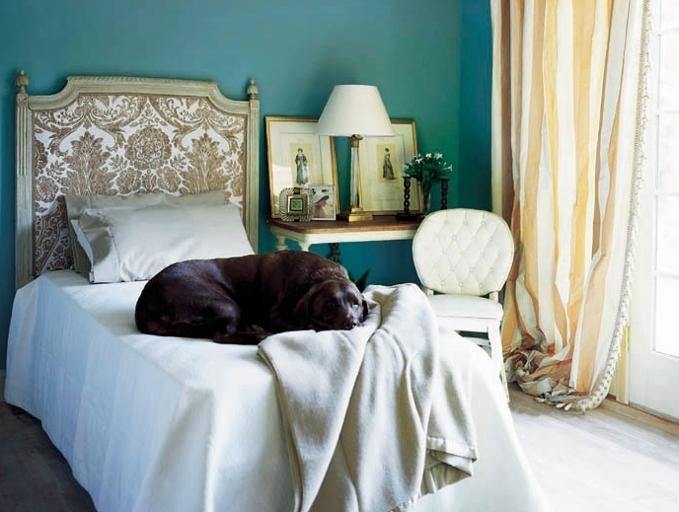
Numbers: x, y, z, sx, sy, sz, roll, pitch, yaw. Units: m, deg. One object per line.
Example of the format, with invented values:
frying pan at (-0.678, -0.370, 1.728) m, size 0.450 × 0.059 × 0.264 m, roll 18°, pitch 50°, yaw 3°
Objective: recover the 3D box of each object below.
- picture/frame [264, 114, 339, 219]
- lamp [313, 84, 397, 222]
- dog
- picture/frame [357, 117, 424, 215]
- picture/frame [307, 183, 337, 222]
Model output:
picture/frame at (-0.297, -0.678, 3.874) m, size 0.668 × 1.075 × 0.065 m, roll 0°, pitch -6°, yaw -33°
lamp at (0.120, -0.763, 3.953) m, size 0.509 × 1.002 × 0.538 m, roll 10°, pitch 16°, yaw 38°
dog at (-0.337, 0.142, 2.172) m, size 0.733 × 0.386 × 0.443 m, roll -1°, pitch 0°, yaw -16°
picture/frame at (0.366, -0.717, 4.125) m, size 0.677 × 1.112 × 0.063 m, roll -1°, pitch 0°, yaw -29°
picture/frame at (-0.136, -0.413, 3.854) m, size 0.205 × 0.279 × 0.022 m, roll -1°, pitch 29°, yaw -3°
